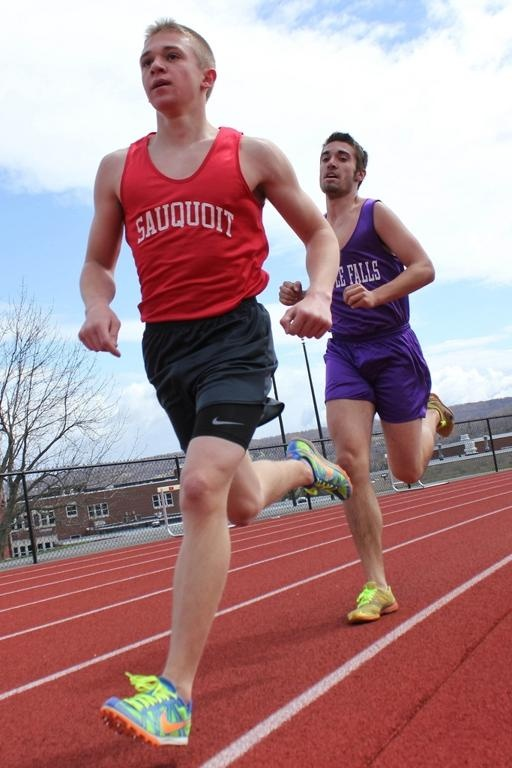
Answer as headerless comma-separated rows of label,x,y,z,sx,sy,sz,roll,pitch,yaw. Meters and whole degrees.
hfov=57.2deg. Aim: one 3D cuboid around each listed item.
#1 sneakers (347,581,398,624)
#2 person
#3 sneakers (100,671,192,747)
sneakers,0.499,0.916,2.010,0.100,0.140,0.270,-25,-20,31
person,-0.140,-0.176,1.303,0.796,1.604,0.720,-6,2,-28
sneakers,-0.192,0.618,0.950,0.106,0.200,0.100,-1,48,47
